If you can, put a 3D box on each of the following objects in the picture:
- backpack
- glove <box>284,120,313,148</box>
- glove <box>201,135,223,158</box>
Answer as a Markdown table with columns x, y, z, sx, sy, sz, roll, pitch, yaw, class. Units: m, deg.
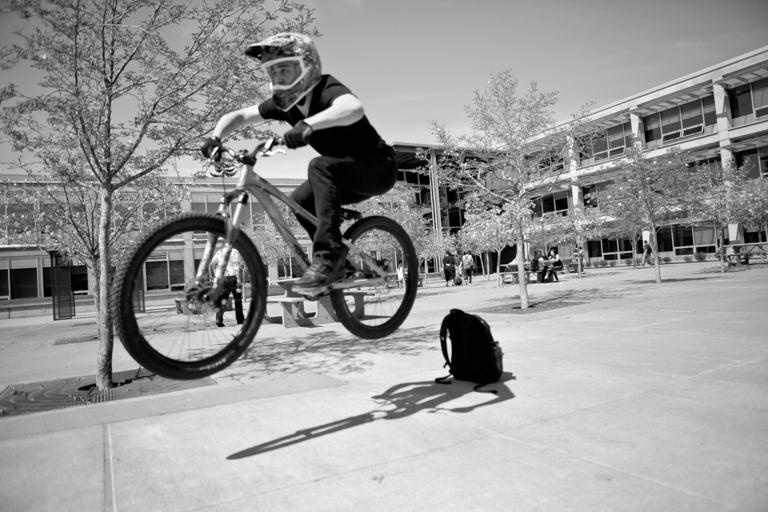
| x | y | z | sx | sy | sz | roll | pitch | yaw | class |
| --- | --- | --- | --- | --- | --- | --- | --- | --- | --- |
| 1.082 | 1.143 | 6.344 | 0.724 | 0.891 | 0.331 | 2 | 10 | 41 | backpack |
| -0.841 | -1.171 | 4.950 | 0.279 | 0.256 | 0.205 | -5 | 7 | -7 | glove |
| -1.780 | -1.132 | 5.305 | 0.191 | 0.258 | 0.094 | 8 | -8 | -6 | glove |
